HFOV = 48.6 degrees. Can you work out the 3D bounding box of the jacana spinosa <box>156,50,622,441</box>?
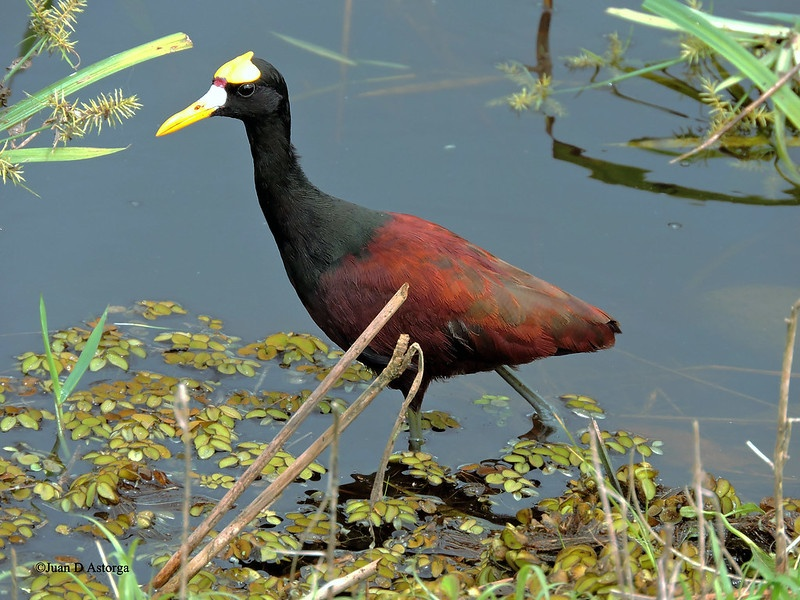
[{"bbox_3d":[0.035,-0.356,5.739,2.314,2.577,2.319,4,107,7],"label":"jacana spinosa"}]
